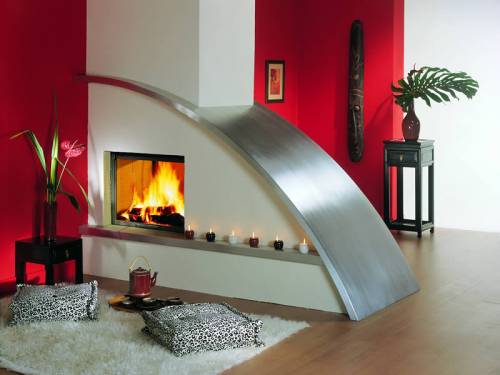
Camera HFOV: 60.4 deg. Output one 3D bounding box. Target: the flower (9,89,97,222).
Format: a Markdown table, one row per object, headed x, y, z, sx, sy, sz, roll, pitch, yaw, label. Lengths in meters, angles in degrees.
| x | y | z | sx | sy | sz | roll | pitch | yaw | label |
| --- | --- | --- | --- | --- | --- | --- | --- | --- | --- |
| -1.825 | -0.288 | 4.151 | 0.639 | 1.046 | 0.475 | 3 | 3 | -9 | flower |

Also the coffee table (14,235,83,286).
| x | y | z | sx | sy | sz | roll | pitch | yaw | label |
| --- | --- | --- | --- | --- | --- | --- | --- | --- | --- |
| -1.863 | 0.584 | 3.972 | 0.430 | 0.543 | 0.445 | 1 | 4 | 29 | coffee table |

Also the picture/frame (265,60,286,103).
| x | y | z | sx | sy | sz | roll | pitch | yaw | label |
| --- | --- | --- | --- | --- | --- | --- | --- | --- | --- |
| 0.379 | -1.703 | 6.866 | 0.075 | 0.911 | 0.580 | 3 | 6 | 34 | picture/frame |
